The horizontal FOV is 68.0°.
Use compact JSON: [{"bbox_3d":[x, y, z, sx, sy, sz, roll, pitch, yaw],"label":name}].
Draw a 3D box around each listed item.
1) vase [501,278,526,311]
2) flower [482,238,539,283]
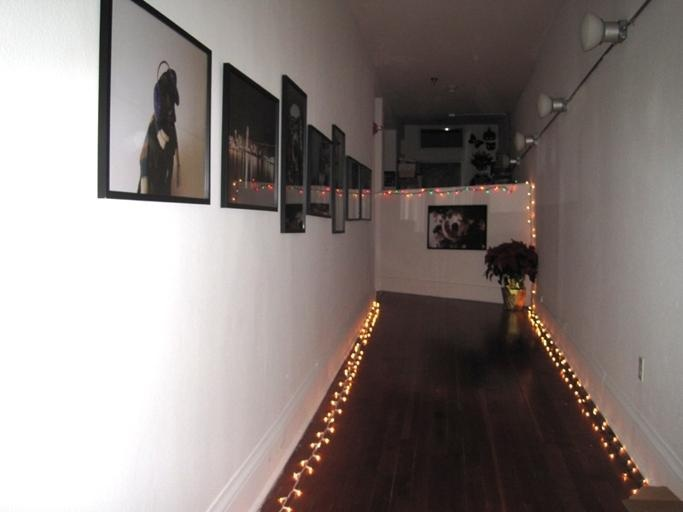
[{"bbox_3d":[2.139,0.468,6.294,0.271,0.438,0.328,0,-7,-8],"label":"vase"},{"bbox_3d":[2.097,0.074,6.246,0.493,0.423,0.507,-17,18,-33],"label":"flower"}]
